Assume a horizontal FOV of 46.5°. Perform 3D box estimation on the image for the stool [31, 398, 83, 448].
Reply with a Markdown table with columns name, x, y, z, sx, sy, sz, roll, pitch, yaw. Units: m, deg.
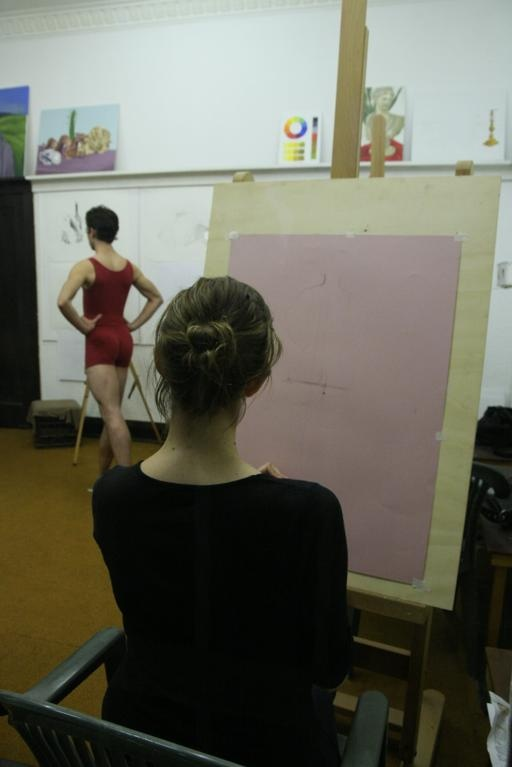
| name | x | y | z | sx | sy | sz | roll | pitch | yaw |
| --- | --- | --- | --- | --- | --- | --- | --- | --- | --- |
| stool | -1.303 | 0.262 | 3.914 | 0.275 | 0.248 | 0.303 | 0 | 9 | -6 |
